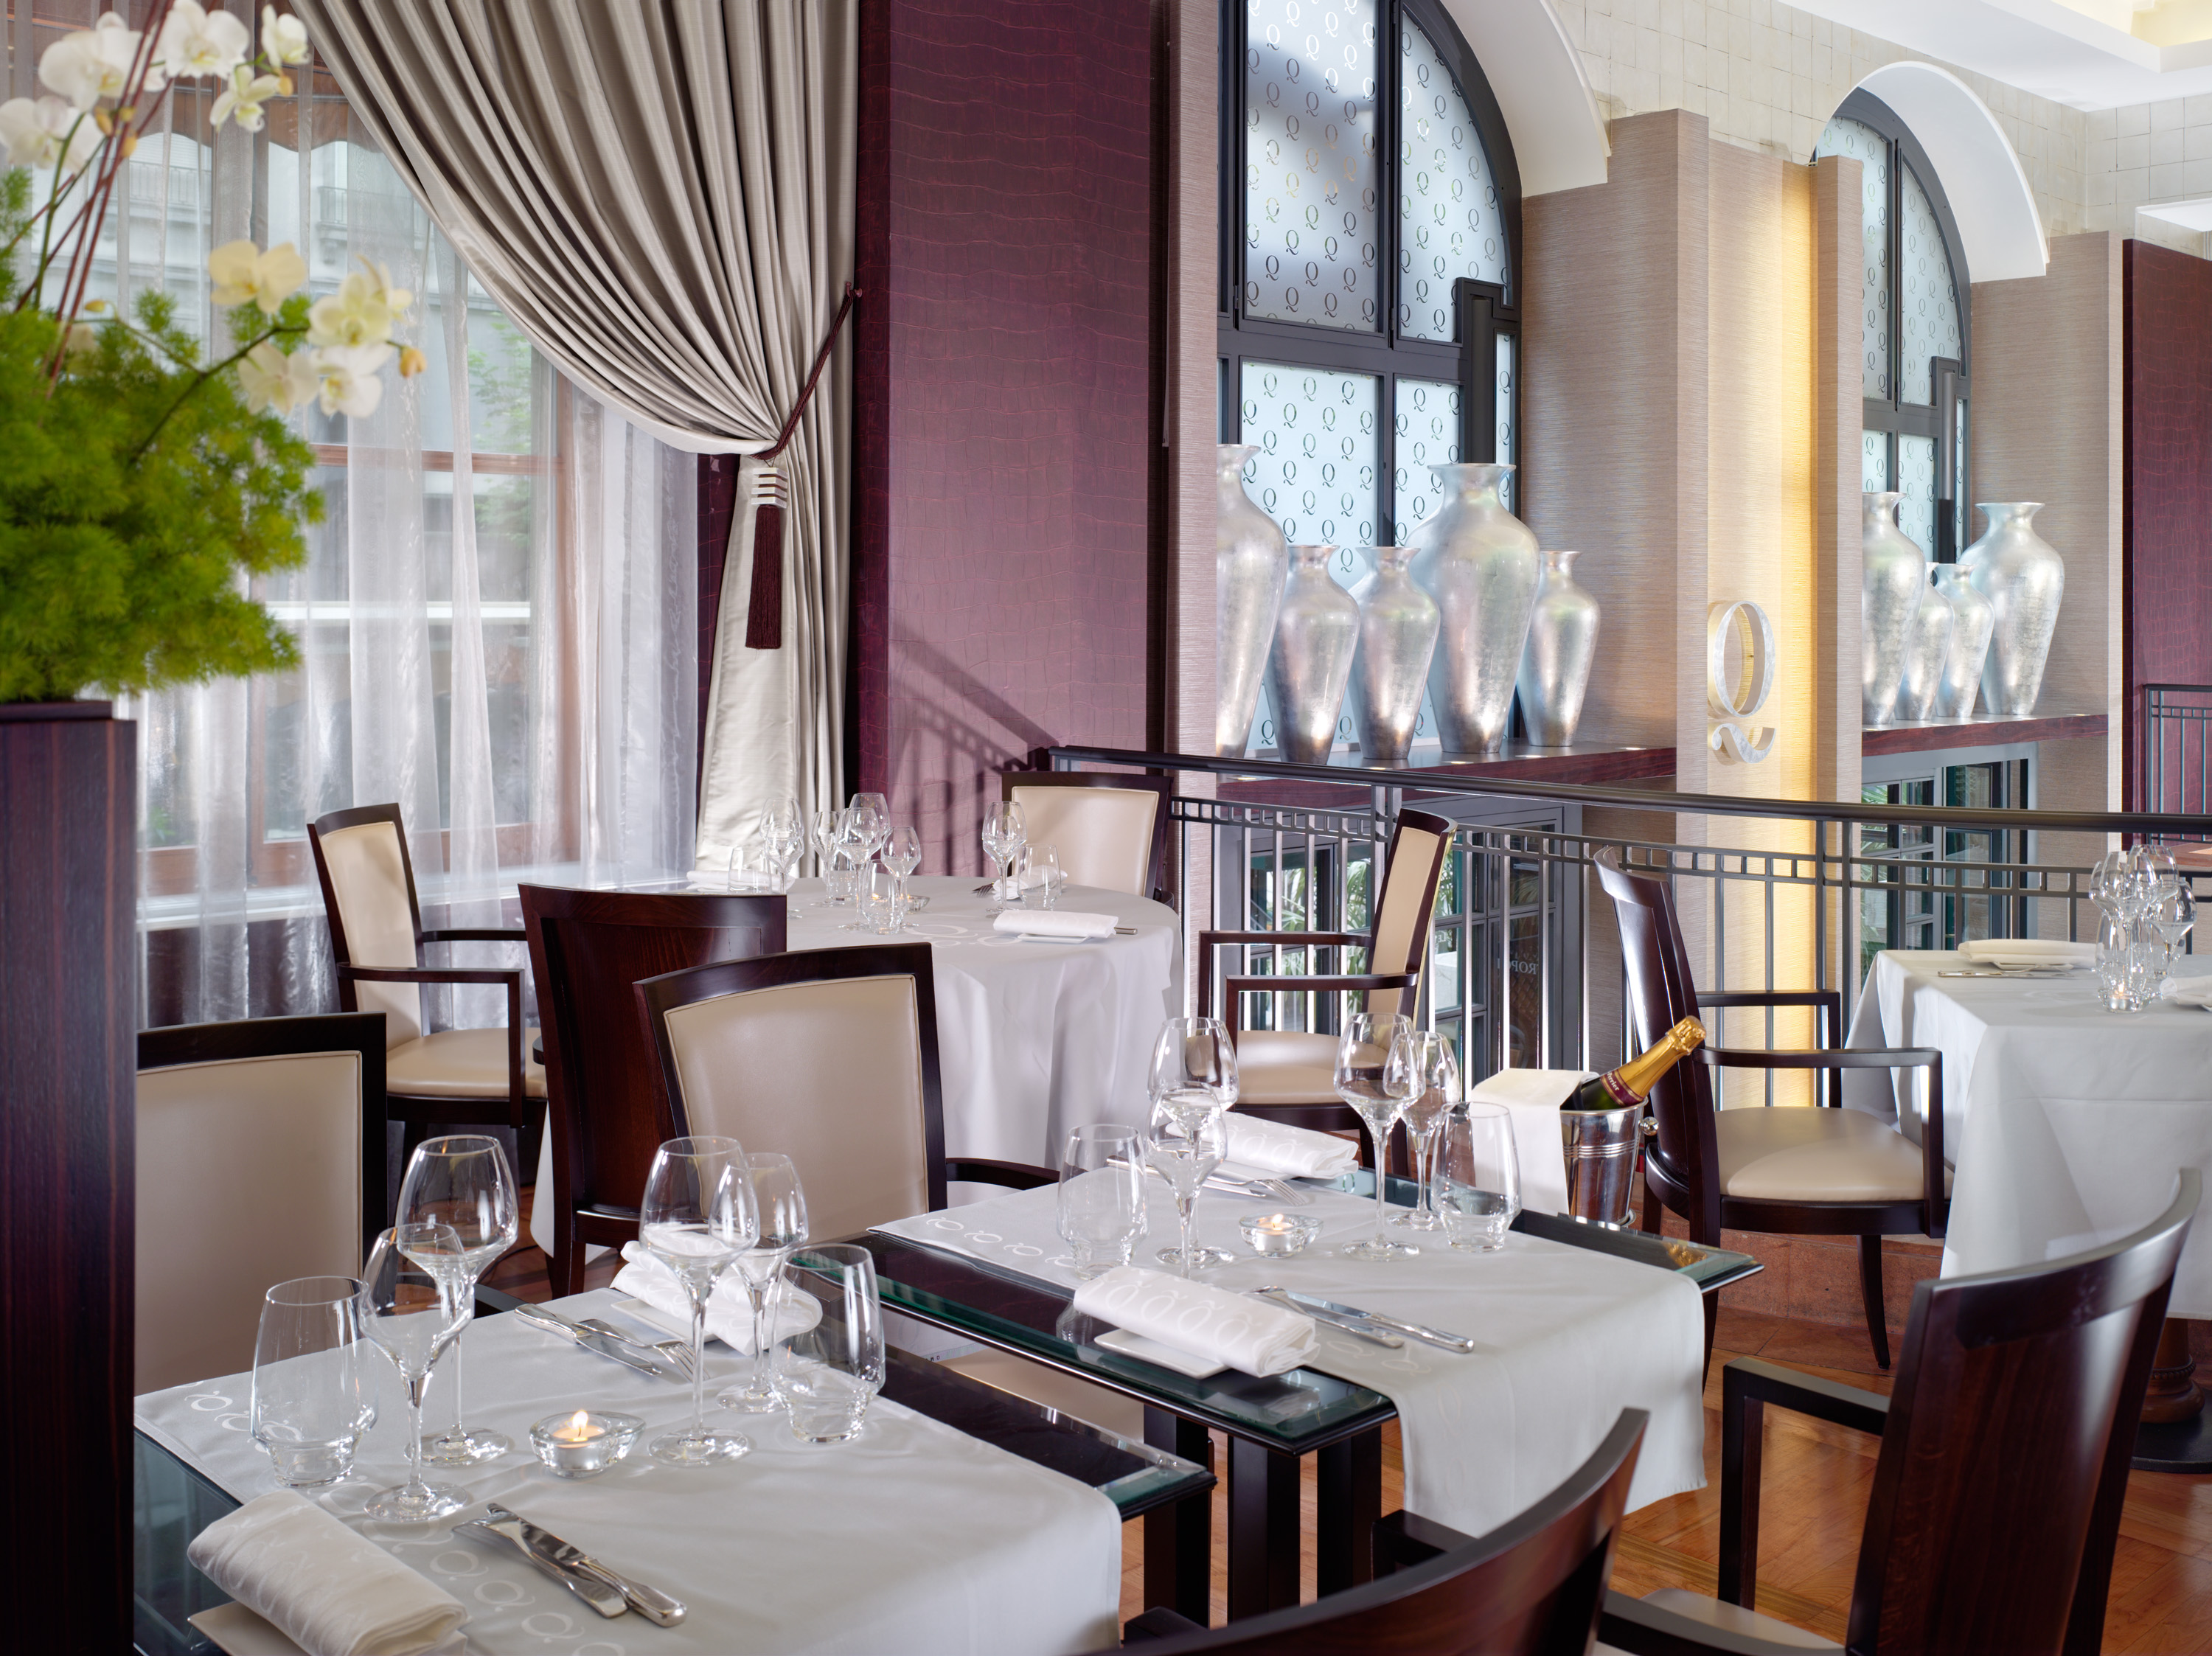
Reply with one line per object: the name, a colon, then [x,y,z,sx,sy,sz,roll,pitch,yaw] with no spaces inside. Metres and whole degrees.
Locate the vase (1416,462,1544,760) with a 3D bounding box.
vase: [1.350,-0.800,6.801,0.430,1.048,0.252,3,9,10]

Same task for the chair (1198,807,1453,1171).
chair: [0.568,0.411,4.906,0.665,1.227,0.743,2,-2,-7]

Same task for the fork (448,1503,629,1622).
fork: [-0.458,0.607,1.540,0.062,0.016,0.237,-3,9,-35]

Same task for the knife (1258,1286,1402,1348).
knife: [0.255,0.512,2.033,0.046,0.009,0.170,-12,14,-38]

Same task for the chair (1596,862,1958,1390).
chair: [1.510,0.645,4.429,0.814,1.465,0.931,-1,4,3]

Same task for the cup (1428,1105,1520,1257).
cup: [0.441,0.412,2.220,0.122,0.209,0.130,-1,2,0]

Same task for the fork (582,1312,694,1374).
fork: [-0.485,0.542,1.944,0.046,0.031,0.174,-16,13,-38]

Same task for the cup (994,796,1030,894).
cup: [-0.230,0.056,4.512,0.084,0.191,0.244,1,9,-4]

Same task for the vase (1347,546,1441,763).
vase: [1.012,-0.621,6.614,0.278,0.744,0.189,-3,9,-28]

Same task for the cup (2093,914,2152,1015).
cup: [2.035,0.270,3.717,0.083,0.175,0.061,-1,-23,11]

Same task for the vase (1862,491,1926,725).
vase: [3.535,-0.986,8.412,0.221,1.052,0.645,10,12,43]

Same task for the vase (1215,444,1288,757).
vase: [0.464,-0.760,6.204,0.240,1.010,0.142,0,8,-9]

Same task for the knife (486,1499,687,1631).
knife: [-0.430,0.609,1.530,0.063,0.023,0.254,-9,9,-32]

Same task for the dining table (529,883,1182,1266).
dining table: [-0.284,0.414,3.960,0.912,0.592,0.908,-2,-3,44]

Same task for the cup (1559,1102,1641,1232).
cup: [0.738,0.526,2.854,0.158,0.210,0.173,-6,-5,-1]
